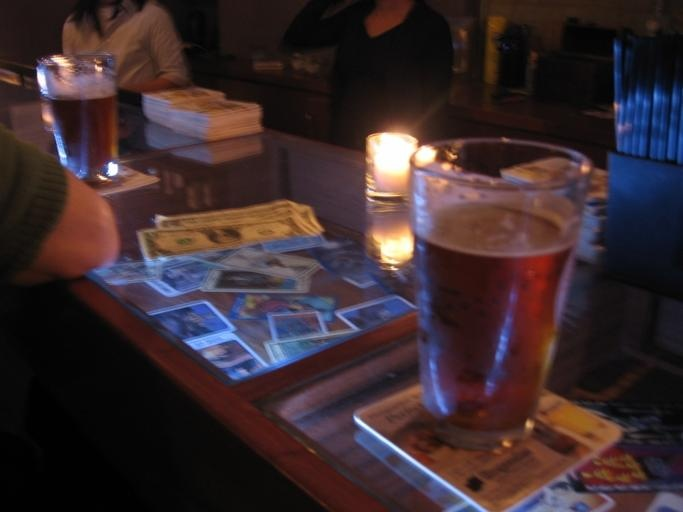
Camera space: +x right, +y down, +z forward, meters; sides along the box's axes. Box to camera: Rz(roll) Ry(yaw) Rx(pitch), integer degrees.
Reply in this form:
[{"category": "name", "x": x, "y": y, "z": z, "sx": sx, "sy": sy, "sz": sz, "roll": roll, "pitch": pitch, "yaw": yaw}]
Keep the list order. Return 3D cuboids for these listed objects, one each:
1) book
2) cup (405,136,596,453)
[{"category": "book", "x": -0.414, "y": -0.416, "z": 1.540, "sx": 0.203, "sy": 0.072, "sz": 0.312, "roll": -17, "pitch": 30, "yaw": -37}, {"category": "cup", "x": 0.134, "y": 0.028, "z": 0.483, "sx": 0.141, "sy": 0.242, "sz": 0.147, "roll": -1, "pitch": 26, "yaw": 0}]
